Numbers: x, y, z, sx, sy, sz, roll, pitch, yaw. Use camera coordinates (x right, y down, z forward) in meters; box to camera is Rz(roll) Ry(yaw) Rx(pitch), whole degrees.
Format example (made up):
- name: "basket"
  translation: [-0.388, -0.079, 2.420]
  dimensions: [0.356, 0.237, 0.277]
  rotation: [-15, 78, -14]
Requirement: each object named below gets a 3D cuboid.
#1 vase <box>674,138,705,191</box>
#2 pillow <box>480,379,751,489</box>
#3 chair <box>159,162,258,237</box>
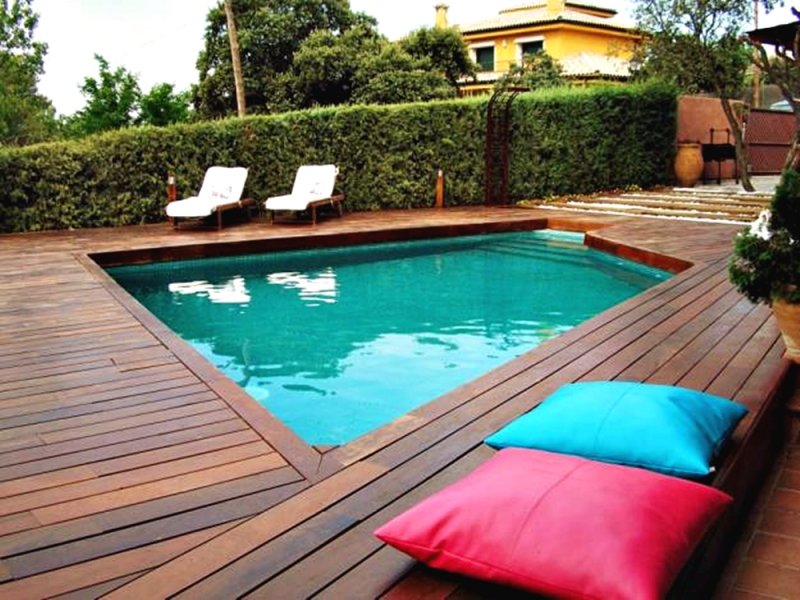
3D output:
- name: "vase"
  translation: [7.340, -3.468, 13.842]
  dimensions: [0.630, 1.123, 0.337]
  rotation: [2, 16, 24]
- name: "pillow"
  translation: [0.760, 0.436, 1.894]
  dimensions: [0.467, 0.133, 0.489]
  rotation: [2, 10, 33]
- name: "chair"
  translation: [-3.314, -1.826, 9.563]
  dimensions: [1.315, 1.043, 1.656]
  rotation: [-6, 14, -8]
